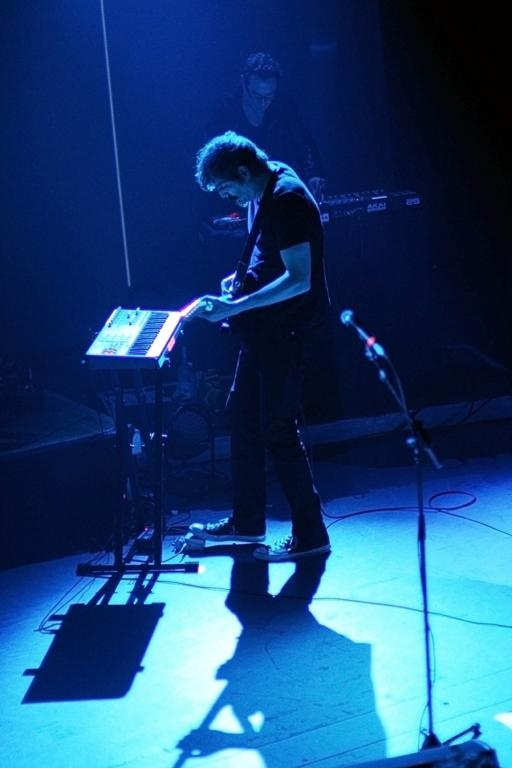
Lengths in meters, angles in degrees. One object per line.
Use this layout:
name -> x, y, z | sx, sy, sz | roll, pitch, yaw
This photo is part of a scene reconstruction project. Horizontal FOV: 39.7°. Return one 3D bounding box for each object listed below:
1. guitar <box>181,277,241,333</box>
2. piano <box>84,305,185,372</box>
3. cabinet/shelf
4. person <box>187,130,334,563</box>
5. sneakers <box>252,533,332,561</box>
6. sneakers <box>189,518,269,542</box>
guitar -> -0.142, -0.279, 2.672 | 0.256, 0.109, 0.152 | -20, 54, -13
piano -> -0.447, -0.156, 2.548 | 0.242, 0.115, 0.318 | 7, 39, 6
cabinet/shelf -> -0.518, 0.339, 2.798 | 0.454, 0.819, 0.446 | -7, 10, -15
person -> 0.017, -0.116, 2.753 | 0.538, 1.648, 0.448 | -3, 10, 6
sneakers -> 0.147, 0.653, 2.884 | 0.309, 0.113, 0.112 | -1, -5, 5
sneakers -> -0.115, 0.612, 3.001 | 0.326, 0.124, 0.120 | 4, -13, 5
